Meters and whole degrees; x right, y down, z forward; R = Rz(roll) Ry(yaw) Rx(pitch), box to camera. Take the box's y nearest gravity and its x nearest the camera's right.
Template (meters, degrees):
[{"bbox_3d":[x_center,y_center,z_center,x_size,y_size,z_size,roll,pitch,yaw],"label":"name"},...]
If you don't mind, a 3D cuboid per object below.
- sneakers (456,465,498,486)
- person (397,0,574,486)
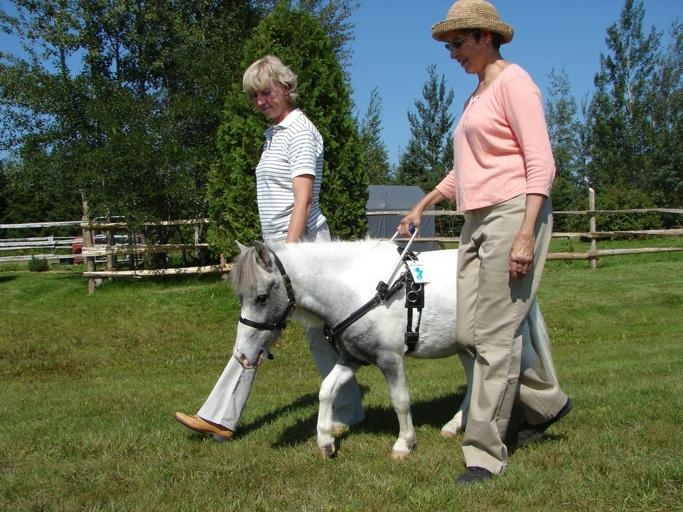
[{"bbox_3d":[1.124,1.838,4.826,0.270,0.129,0.138,5,-10,-13],"label":"sneakers"},{"bbox_3d":[1.332,-0.169,4.990,1.029,4.055,0.917,-1,6,5],"label":"person"}]
